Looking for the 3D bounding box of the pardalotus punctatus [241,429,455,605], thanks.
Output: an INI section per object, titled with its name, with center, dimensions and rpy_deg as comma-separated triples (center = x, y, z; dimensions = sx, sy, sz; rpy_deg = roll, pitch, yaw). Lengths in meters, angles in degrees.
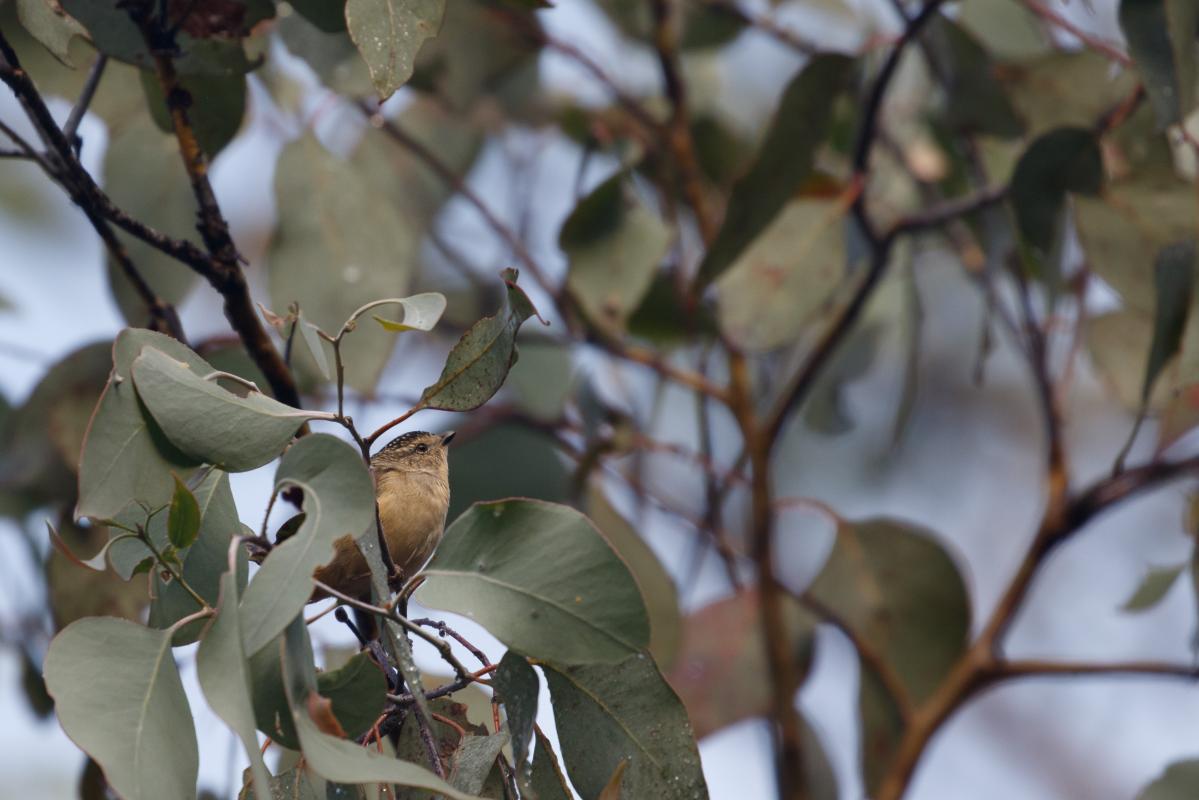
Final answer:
[pardalotus punctatus]
center = -0.360, 0.203, 2.708
dimensions = 0.247, 0.290, 0.178
rpy_deg = -12, -29, 14
